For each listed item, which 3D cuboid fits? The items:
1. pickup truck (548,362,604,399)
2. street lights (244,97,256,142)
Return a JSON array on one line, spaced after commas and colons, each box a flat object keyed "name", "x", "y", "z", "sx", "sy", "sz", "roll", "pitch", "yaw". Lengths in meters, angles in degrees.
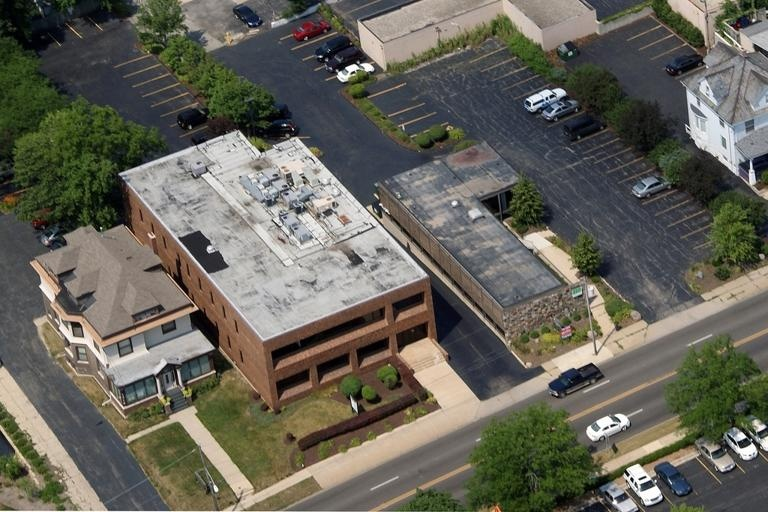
[{"name": "pickup truck", "x": 26.798, "y": 17.338, "z": 220.361, "sx": 8.340, "sy": 2.916, "sz": 3.574, "roll": -27, "pitch": 67, "yaw": -4}, {"name": "street lights", "x": 29.690, "y": 9.486, "z": 225.833, "sx": 0.493, "sy": 0.500, "sz": 3.617, "roll": -5, "pitch": 86, "yaw": 9}]
